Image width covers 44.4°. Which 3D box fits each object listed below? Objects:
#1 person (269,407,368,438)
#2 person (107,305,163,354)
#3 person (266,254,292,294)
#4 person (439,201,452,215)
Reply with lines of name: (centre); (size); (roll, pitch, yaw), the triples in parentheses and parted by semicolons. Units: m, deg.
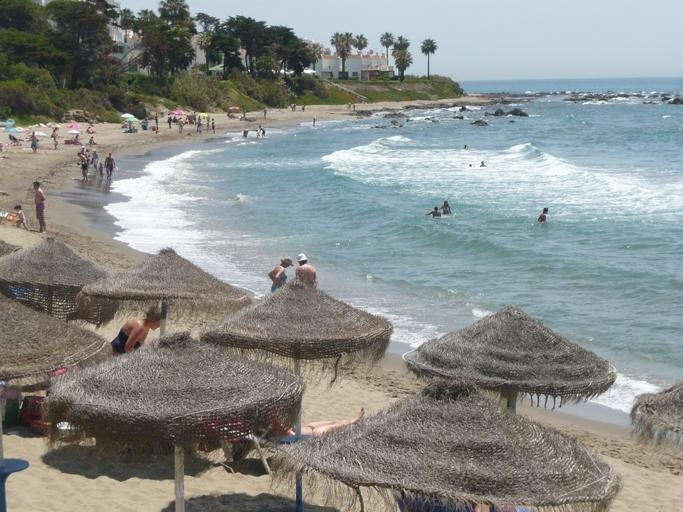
person: (-0.222, 2.182, 11.281); (1.544, 0.224, 0.474); (-5, 3, -10)
person: (-2.830, 0.993, 11.463); (0.441, 0.764, 0.248); (41, 17, -39)
person: (-1.155, 0.509, 15.878); (0.512, 0.925, 0.438); (3, 20, -4)
person: (3.953, -1.835, 31.785); (0.404, 0.605, 0.758); (-1, 13, 7)
